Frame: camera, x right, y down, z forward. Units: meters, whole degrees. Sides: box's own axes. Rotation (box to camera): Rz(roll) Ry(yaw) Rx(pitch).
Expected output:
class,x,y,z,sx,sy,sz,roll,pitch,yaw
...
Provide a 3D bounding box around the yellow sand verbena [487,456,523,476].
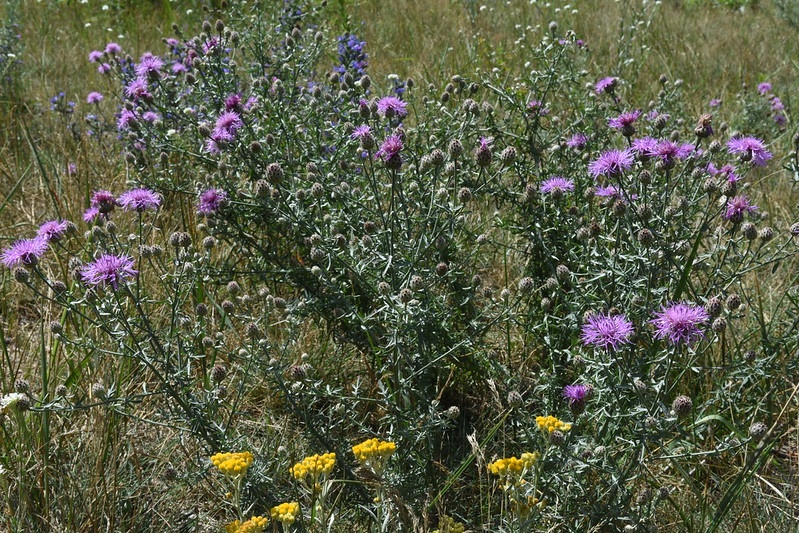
class,x,y,z,sx,sy,sz,roll,pitch,yaw
yellow sand verbena,0.508,0.966,4.877,0.107,0.070,0.102,-3,-19,-2

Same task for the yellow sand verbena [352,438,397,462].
class,x,y,z,sx,sy,sz,roll,pitch,yaw
yellow sand verbena,-0.120,0.880,4.897,0.125,0.093,0.141,-9,-10,11

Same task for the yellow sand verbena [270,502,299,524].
class,x,y,z,sx,sy,sz,roll,pitch,yaw
yellow sand verbena,-0.553,1.177,4.887,0.094,0.084,0.106,-3,-4,-4

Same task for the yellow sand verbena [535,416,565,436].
class,x,y,z,sx,sy,sz,roll,pitch,yaw
yellow sand verbena,0.737,0.766,4.953,0.085,0.068,0.093,8,0,21

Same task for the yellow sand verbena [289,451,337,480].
class,x,y,z,sx,sy,sz,roll,pitch,yaw
yellow sand verbena,-0.428,0.990,5.044,0.163,0.089,0.217,-18,-2,2
